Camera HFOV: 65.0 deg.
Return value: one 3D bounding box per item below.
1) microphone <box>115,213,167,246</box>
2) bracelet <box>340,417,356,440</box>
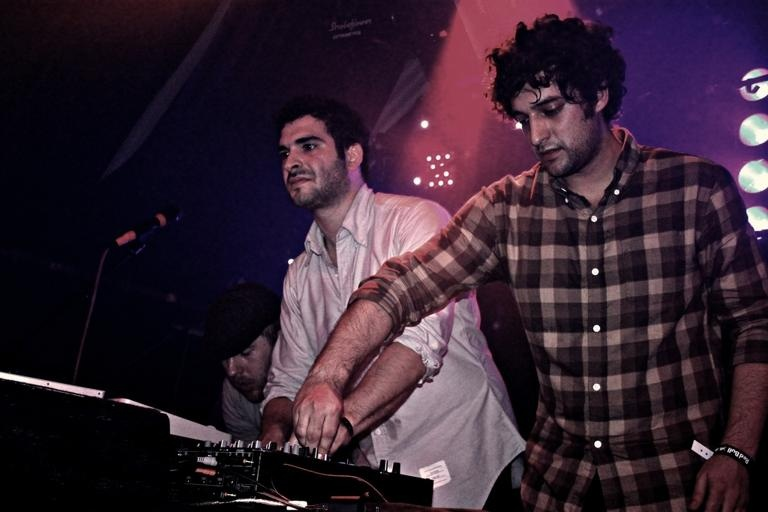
[{"bbox_3d":[-1.824,-0.192,4.548,0.334,0.084,0.096,-29,-32,-17],"label":"microphone"},{"bbox_3d":[-0.158,0.710,2.485,0.022,0.082,0.079,-27,-34,-19],"label":"bracelet"}]
